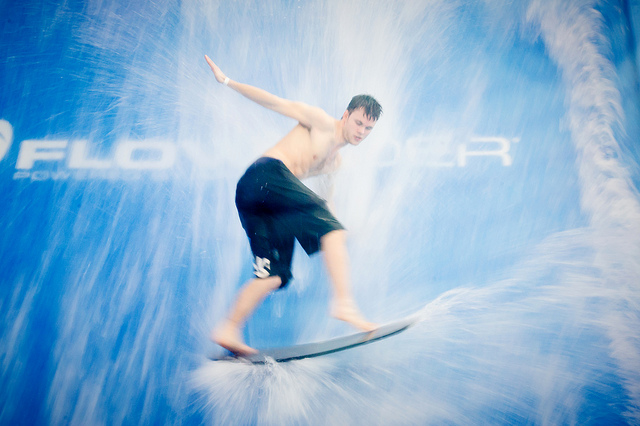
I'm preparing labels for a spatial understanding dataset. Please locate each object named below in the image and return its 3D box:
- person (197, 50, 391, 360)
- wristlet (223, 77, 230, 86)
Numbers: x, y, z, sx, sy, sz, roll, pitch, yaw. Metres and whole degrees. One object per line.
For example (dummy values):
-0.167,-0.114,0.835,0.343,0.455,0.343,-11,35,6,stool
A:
-0.208,-0.066,3.608,1.537,2.169,0.724,9,-31,-10,person
-0.694,-0.970,3.550,0.050,0.052,0.016,10,-6,28,wristlet
